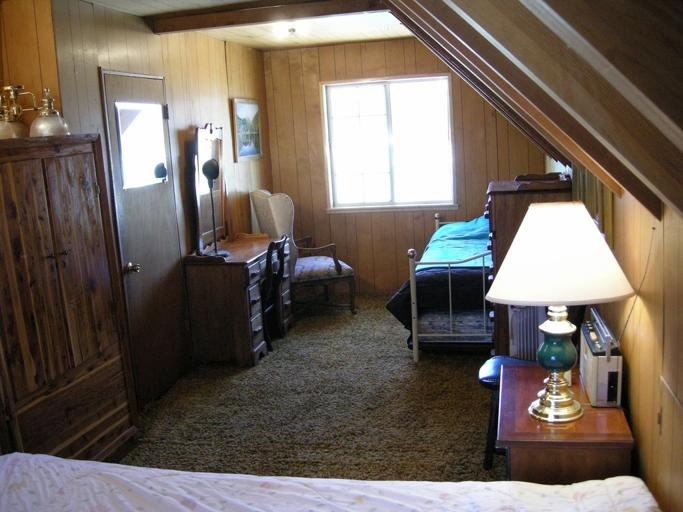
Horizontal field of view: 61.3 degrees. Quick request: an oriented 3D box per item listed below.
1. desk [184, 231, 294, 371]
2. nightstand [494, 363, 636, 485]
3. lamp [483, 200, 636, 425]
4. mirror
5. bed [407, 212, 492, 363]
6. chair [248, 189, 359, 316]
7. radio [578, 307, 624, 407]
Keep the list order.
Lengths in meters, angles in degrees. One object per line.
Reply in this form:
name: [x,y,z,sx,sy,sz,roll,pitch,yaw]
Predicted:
desk: [-0.879,0.359,4.806,0.574,0.873,0.728,-1,11,11]
nightstand: [0.821,0.738,2.187,0.285,0.281,0.557,-3,16,11]
lamp: [0.761,0.224,2.058,0.385,0.803,0.350,-9,12,-26]
mirror: [-1.065,-0.530,4.798,0.294,1.122,0.439,7,16,23]
bed: [0.916,0.267,4.898,0.691,0.632,1.254,-1,11,11]
chair: [-0.412,-0.064,5.848,0.908,1.303,0.803,-9,11,-26]
radio: [1.023,0.412,2.276,0.086,0.247,0.336,-2,13,12]
